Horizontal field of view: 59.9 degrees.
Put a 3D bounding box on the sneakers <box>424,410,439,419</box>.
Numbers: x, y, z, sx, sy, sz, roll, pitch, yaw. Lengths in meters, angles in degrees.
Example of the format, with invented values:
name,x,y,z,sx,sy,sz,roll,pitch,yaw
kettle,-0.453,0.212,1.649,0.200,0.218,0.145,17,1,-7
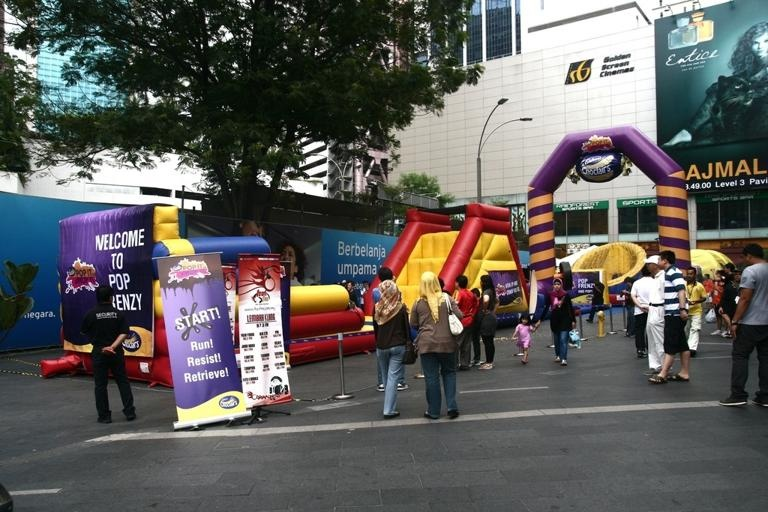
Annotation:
name,x,y,z,sx,sy,sz,roll,pitch,yaw
sneakers,0.932,3.194,13.297,0.324,0.168,0.218,-3,-1,16

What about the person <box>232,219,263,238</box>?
name,x,y,z,sx,sy,sz,roll,pitch,yaw
person,-4.518,-0.885,22.167,0.371,0.571,1.227,-2,-1,27

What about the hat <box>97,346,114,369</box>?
name,x,y,z,sx,sy,sz,roll,pitch,yaw
hat,-5.816,2.139,13.889,0.291,0.410,0.143,4,1,19

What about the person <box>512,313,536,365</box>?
name,x,y,z,sx,sy,sz,roll,pitch,yaw
person,3.867,2.226,18.140,0.660,1.343,0.502,4,14,27

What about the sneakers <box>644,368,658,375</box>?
name,x,y,z,sx,sy,sz,roll,pitch,yaw
sneakers,6.295,2.770,15.733,0.279,0.123,0.133,-4,-7,18

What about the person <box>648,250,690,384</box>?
name,x,y,z,sx,sy,sz,roll,pitch,yaw
person,6.456,1.386,15.054,0.712,2.825,0.857,-2,0,22

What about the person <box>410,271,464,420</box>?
name,x,y,z,sx,sy,sz,roll,pitch,yaw
person,1.074,1.806,13.488,0.975,2.901,0.671,-2,0,6

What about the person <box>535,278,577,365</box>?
name,x,y,z,sx,sy,sz,roll,pitch,yaw
person,4.811,1.756,18.064,0.620,2.279,1.090,-2,0,15

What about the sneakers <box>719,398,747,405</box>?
name,x,y,z,sx,sy,sz,roll,pitch,yaw
sneakers,6.867,2.920,13.131,0.486,0.213,0.182,0,-7,23

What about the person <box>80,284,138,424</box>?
name,x,y,z,sx,sy,sz,roll,pitch,yaw
person,-5.821,2.065,14.040,0.933,2.997,0.779,-2,0,-29

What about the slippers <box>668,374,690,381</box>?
name,x,y,z,sx,sy,sz,roll,pitch,yaw
slippers,6.736,2.806,15.196,0.291,0.108,0.158,1,-3,27

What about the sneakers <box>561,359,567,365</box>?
name,x,y,z,sx,sy,sz,roll,pitch,yaw
sneakers,4.751,2.853,17.652,0.138,0.169,0.416,1,0,15

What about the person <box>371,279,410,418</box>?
name,x,y,z,sx,sy,sz,roll,pitch,yaw
person,0.145,1.903,13.819,0.761,2.838,0.796,-2,0,-26

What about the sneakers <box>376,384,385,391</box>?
name,x,y,z,sx,sy,sz,roll,pitch,yaw
sneakers,-0.083,3.117,15.553,0.127,0.147,0.323,2,-1,-5

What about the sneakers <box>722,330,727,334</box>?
name,x,y,z,sx,sy,sz,roll,pitch,yaw
sneakers,11.634,2.674,22.746,0.135,0.165,0.373,1,-2,21

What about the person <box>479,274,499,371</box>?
name,x,y,z,sx,sy,sz,roll,pitch,yaw
person,2.771,1.783,17.988,0.474,2.497,0.756,-2,0,8

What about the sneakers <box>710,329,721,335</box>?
name,x,y,z,sx,sy,sz,roll,pitch,yaw
sneakers,11.928,2.803,23.997,0.157,0.189,0.462,3,-5,-28
